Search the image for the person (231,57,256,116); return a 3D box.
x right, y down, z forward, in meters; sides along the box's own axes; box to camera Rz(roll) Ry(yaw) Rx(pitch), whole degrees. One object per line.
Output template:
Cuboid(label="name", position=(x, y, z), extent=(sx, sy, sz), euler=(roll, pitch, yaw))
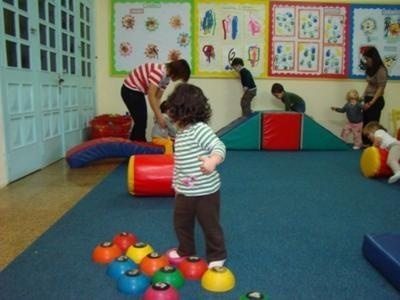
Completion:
Cuboid(label="person", position=(0.782, -1.089, 5.501), extent=(0.407, 0.989, 0.404), euler=(-10, 17, -34))

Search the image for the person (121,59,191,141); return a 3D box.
Cuboid(label="person", position=(-0.560, -0.502, 3.878), extent=(0.805, 1.212, 0.456), euler=(6, 15, 0))

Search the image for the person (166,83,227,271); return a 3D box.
Cuboid(label="person", position=(0.002, 0.141, 1.677), extent=(0.442, 0.962, 0.308), euler=(11, 18, 39))
